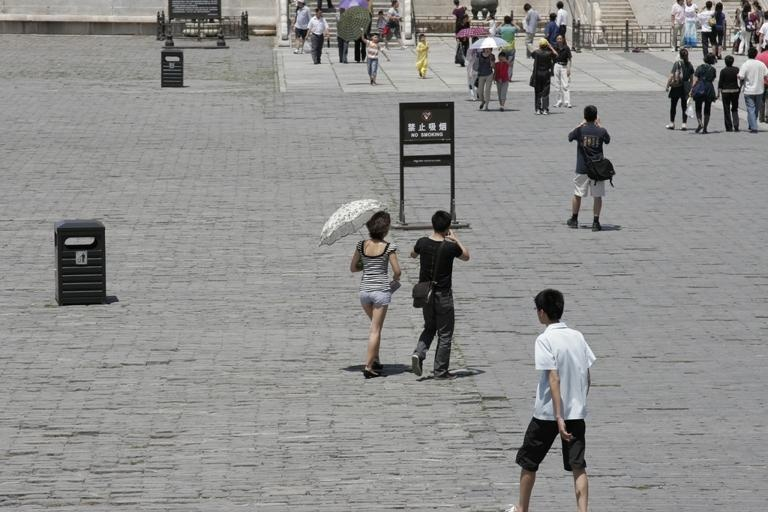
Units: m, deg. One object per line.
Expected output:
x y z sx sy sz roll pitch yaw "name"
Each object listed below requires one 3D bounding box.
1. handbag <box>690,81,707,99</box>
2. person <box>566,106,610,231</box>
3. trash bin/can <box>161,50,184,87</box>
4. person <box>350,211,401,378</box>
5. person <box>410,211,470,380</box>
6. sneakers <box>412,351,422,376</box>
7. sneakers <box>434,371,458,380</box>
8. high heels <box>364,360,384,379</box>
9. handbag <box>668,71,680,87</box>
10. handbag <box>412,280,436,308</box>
7.284 -3.884 44.233 0.265 0.407 0.441 5 -5 -24 "handbag"
4.026 -1.773 37.437 0.834 2.493 1.223 2 16 5 "person"
-5.456 -4.876 49.386 0.545 0.988 0.470 -2 16 -10 "trash bin/can"
-0.123 0.605 31.863 0.770 2.678 0.889 -2 16 -10 "person"
0.885 0.614 31.675 0.876 2.733 0.961 5 16 14 "person"
0.515 1.754 31.637 0.166 0.401 0.161 3 42 25 "sneakers"
1.018 1.955 31.896 0.419 0.148 0.130 -1 7 -12 "sneakers"
-0.175 1.857 31.931 0.173 0.165 0.441 6 11 20 "high heels"
6.679 -4.108 44.064 0.302 0.358 0.207 14 20 41 "handbag"
0.676 0.598 31.603 0.227 0.428 0.511 15 -7 -30 "handbag"
